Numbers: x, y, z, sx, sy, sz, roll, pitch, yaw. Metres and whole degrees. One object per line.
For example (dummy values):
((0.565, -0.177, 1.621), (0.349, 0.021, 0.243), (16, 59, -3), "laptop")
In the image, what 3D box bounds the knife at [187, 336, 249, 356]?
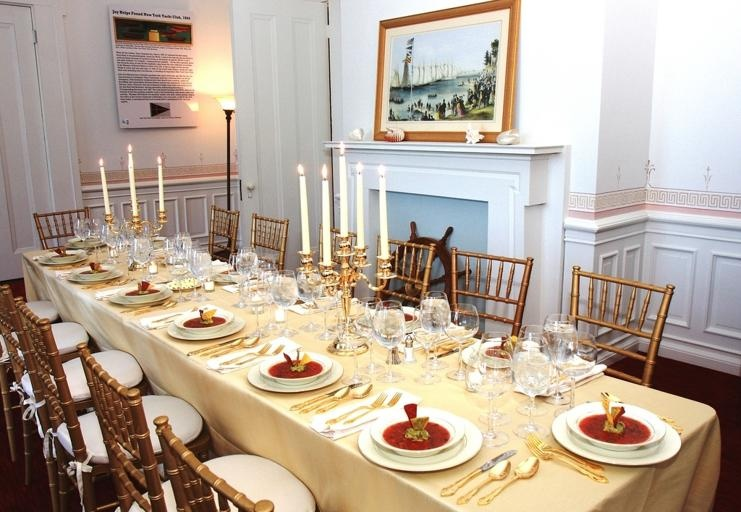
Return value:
((-0.620, 0.376, 2.013), (0.077, 0.016, 0.294), (15, 15, 31), "knife")

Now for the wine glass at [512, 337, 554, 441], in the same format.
((0.499, 0.389, 1.525), (0.109, 0.259, 0.256), (7, 12, 20), "wine glass")

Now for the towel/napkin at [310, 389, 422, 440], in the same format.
((-0.022, 0.462, 1.549), (0.259, 0.023, 0.134), (-15, 20, -41), "towel/napkin")

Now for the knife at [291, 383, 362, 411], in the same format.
((-0.138, 0.480, 1.643), (0.289, 0.021, 0.076), (-8, 23, -43), "knife")

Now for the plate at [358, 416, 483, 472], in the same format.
((0.143, 0.538, 1.383), (0.356, 0.073, 0.184), (2, 11, -3), "plate")

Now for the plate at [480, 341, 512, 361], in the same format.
((0.386, 0.286, 1.488), (0.049, 0.050, 0.050), (1, 5, 30), "plate")

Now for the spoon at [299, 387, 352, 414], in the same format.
((-0.156, 0.467, 1.617), (0.057, 0.021, 0.196), (16, 17, 35), "spoon")

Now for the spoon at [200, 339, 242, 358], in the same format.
((-0.599, 0.381, 1.997), (0.050, 0.010, 0.216), (17, 14, 29), "spoon")

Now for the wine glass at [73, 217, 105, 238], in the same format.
((-1.831, -0.171, 3.201), (0.180, 0.139, 0.164), (-7, 15, -32), "wine glass")

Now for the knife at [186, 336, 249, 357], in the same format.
((-0.625, 0.379, 2.007), (0.078, 0.016, 0.289), (15, 15, 29), "knife")

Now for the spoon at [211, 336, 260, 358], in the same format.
((-0.546, 0.354, 1.987), (0.059, 0.025, 0.224), (12, 17, 29), "spoon")

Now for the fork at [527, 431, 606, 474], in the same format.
((0.531, 0.557, 1.355), (0.066, 0.034, 0.220), (-21, 26, -33), "fork")

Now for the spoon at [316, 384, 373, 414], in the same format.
((-0.070, 0.470, 1.657), (0.062, 0.026, 0.216), (7, 13, 22), "spoon")

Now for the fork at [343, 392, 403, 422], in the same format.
((0.002, 0.471, 1.564), (0.059, 0.029, 0.203), (12, 29, 40), "fork")

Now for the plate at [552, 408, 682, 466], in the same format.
((0.710, 0.530, 1.390), (0.374, 0.065, 0.188), (4, 11, 9), "plate")

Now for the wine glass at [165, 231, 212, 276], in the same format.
((-0.983, -0.020, 2.678), (0.146, 0.189, 0.536), (-9, 10, -13), "wine glass")

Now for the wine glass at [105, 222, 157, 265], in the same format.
((-1.516, -0.065, 3.097), (0.237, 0.227, 0.197), (-5, 19, -26), "wine glass")

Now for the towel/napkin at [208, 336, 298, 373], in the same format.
((-0.459, 0.392, 1.927), (0.276, 0.031, 0.126), (-13, 21, -40), "towel/napkin")

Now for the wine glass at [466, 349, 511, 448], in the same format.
((0.359, 0.399, 1.499), (0.130, 0.256, 0.251), (5, 11, 12), "wine glass")

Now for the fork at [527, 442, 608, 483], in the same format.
((0.529, 0.562, 1.351), (0.066, 0.035, 0.222), (-24, 28, -35), "fork")
